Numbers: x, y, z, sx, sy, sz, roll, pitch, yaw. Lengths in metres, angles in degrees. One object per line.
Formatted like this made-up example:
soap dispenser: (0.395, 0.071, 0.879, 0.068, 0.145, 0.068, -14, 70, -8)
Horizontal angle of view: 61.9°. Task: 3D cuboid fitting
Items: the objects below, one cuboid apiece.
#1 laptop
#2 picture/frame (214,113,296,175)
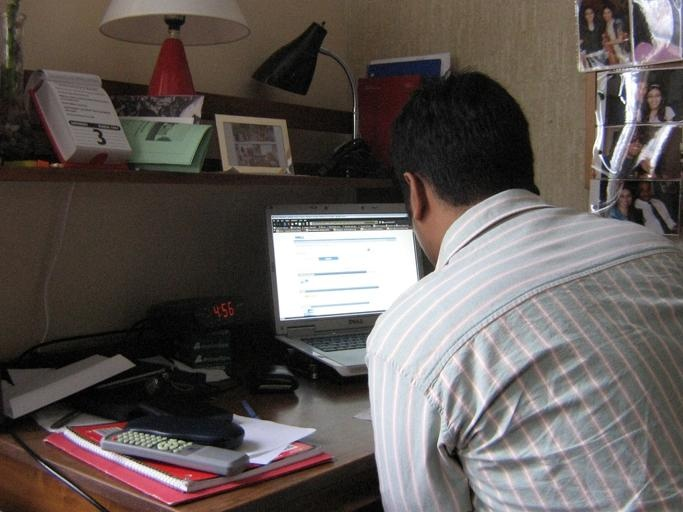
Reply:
laptop: (0.121, 0.077, 1.607, 0.556, 0.398, 0.465, -3, 12, -40)
picture/frame: (-0.239, -0.297, 1.516, 0.256, 0.175, 0.011, -5, -14, -35)
